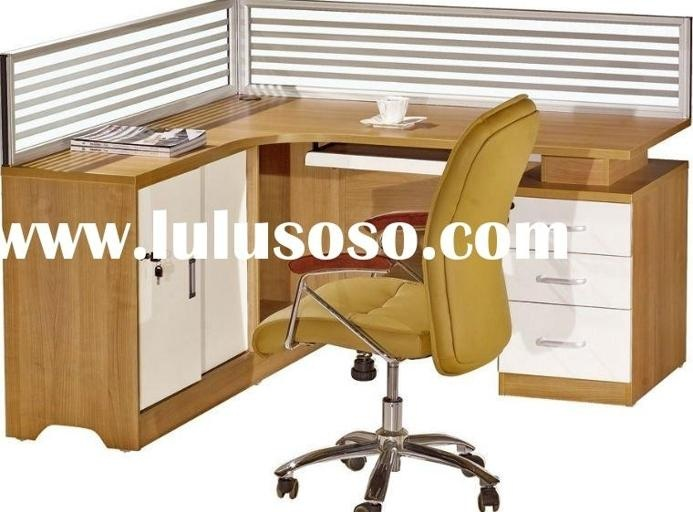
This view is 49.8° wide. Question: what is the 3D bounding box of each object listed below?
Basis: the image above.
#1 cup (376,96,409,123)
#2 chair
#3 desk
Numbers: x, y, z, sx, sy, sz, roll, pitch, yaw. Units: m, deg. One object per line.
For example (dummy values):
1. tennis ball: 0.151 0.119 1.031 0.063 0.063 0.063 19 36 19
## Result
1. cup: 0.212 -0.667 3.436 0.129 0.086 0.135 -1 6 0
2. chair: 0.251 0.028 3.335 1.356 2.032 1.254 4 10 23
3. desk: -0.320 -0.074 3.477 2.008 0.956 1.974 4 12 22
